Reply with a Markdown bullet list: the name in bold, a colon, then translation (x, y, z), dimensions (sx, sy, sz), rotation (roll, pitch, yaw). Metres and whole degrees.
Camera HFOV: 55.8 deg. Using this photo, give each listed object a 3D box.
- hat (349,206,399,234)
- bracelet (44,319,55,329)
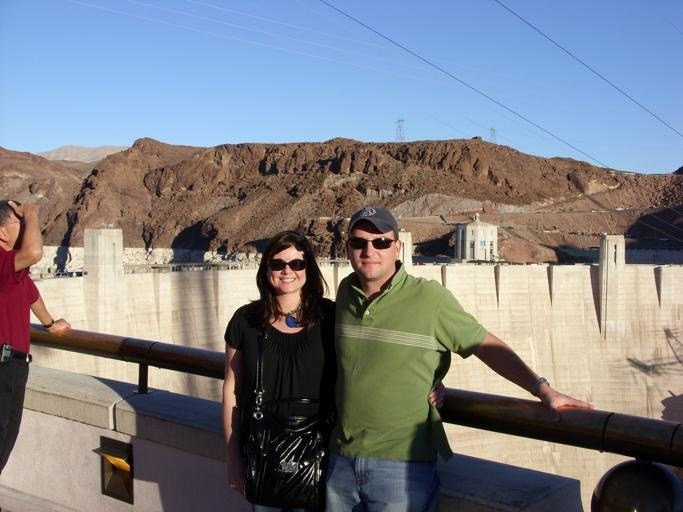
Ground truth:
- **hat**: translation (0.182, -0.186, 3.337), dimensions (0.218, 0.143, 0.336), rotation (-7, -9, 12)
- **bracelet**: translation (-2.013, 0.478, 4.438), dimensions (0.066, 0.023, 0.062), rotation (-20, 11, 4)
